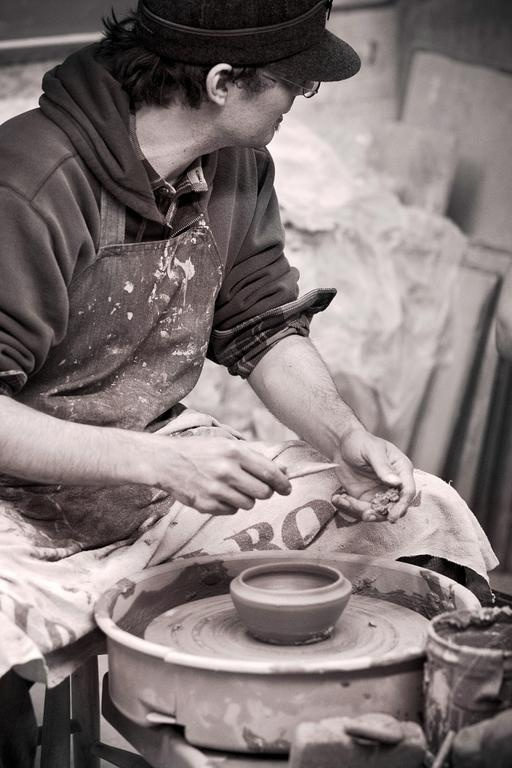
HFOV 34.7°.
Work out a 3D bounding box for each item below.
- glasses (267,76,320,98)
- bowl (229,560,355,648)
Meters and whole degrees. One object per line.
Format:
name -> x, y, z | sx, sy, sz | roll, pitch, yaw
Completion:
glasses -> 0.084, -0.671, 1.843 | 0.098, 0.026, 0.070 | 17, 5, 22
bowl -> 0.079, 0.433, 1.612 | 0.230, 0.103, 0.228 | -1, 0, 0
